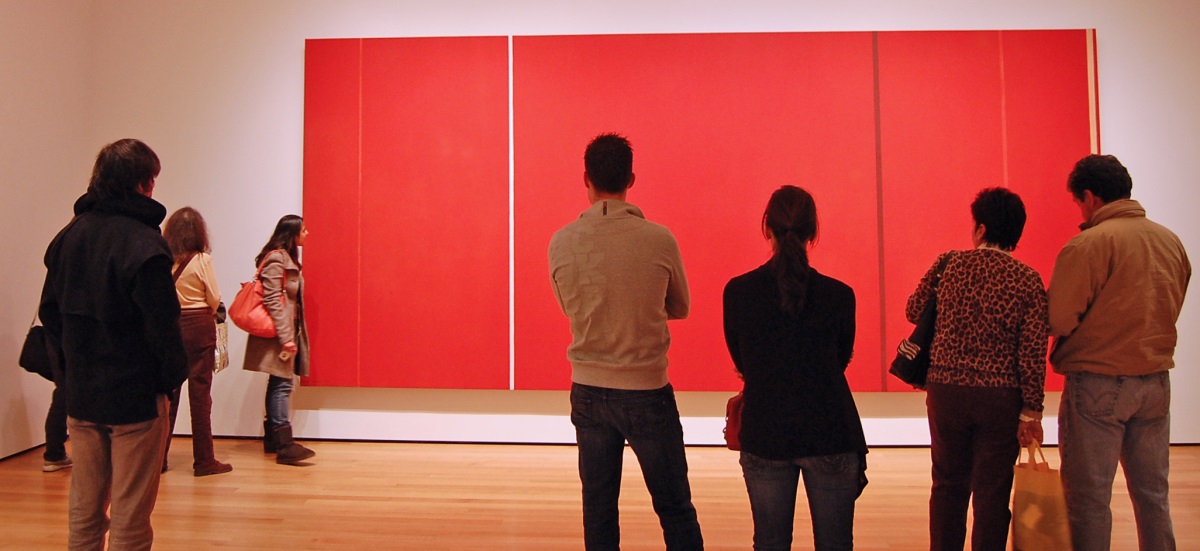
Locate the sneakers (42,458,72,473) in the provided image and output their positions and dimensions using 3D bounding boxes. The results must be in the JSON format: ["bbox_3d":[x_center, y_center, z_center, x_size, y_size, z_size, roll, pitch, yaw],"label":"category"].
[{"bbox_3d":[-6.028,2.129,10.450,0.348,0.121,0.114,-1,1,-19],"label":"sneakers"}]

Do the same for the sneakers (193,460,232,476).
[{"bbox_3d":[-4.284,2.135,10.427,0.341,0.119,0.164,-3,1,-24],"label":"sneakers"}]

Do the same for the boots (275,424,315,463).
[{"bbox_3d":[-3.441,1.928,10.687,0.624,0.417,0.267,-12,-11,36],"label":"boots"}]

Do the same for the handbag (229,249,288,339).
[{"bbox_3d":[-3.891,0.331,10.583,0.525,0.800,0.178,1,4,11],"label":"handbag"}]
